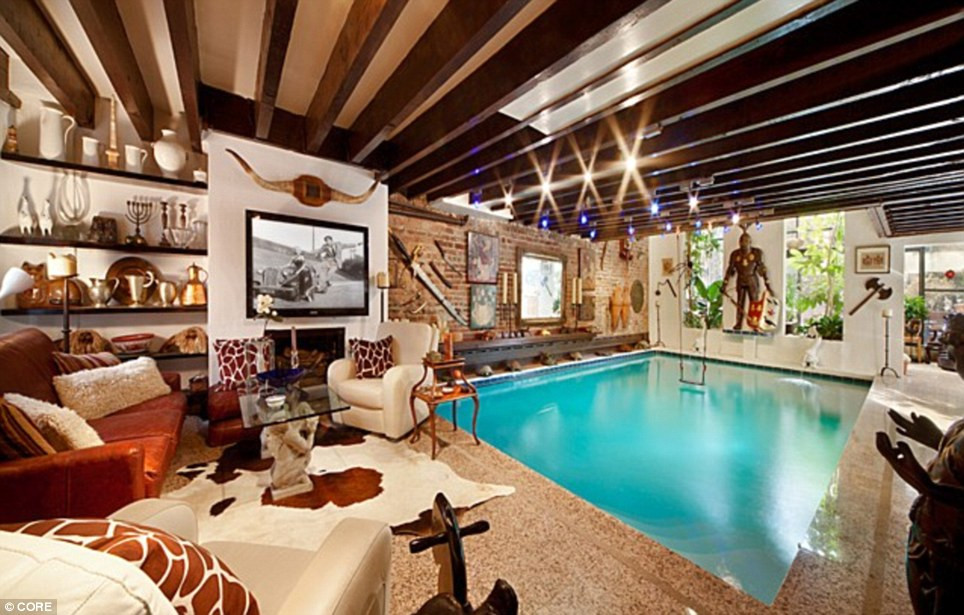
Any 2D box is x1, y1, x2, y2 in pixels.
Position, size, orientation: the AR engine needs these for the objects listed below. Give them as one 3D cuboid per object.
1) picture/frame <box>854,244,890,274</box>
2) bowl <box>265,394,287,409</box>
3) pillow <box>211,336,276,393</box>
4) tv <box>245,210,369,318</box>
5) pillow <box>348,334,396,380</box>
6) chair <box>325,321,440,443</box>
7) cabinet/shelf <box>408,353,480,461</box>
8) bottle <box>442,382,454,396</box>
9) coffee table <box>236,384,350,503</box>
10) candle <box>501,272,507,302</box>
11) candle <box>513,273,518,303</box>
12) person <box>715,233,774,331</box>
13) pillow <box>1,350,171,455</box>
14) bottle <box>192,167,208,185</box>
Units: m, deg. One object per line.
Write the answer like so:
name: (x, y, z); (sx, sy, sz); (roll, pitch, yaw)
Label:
picture/frame: (6.013, -0.730, 8.567); (0.445, 0.477, 0.049); (3, -2, 45)
bowl: (-1.919, 0.880, 5.149); (0.177, 0.090, 0.189); (0, 7, 0)
pillow: (-2.612, 0.629, 6.077); (0.562, 0.558, 0.209); (2, 2, -36)
tv: (-2.122, -0.497, 6.478); (1.307, 1.043, 0.051); (2, -3, -36)
pillow: (-1.268, 0.592, 6.365); (0.472, 0.455, 0.143); (2, -16, -13)
chair: (-1.101, 0.783, 6.361); (1.296, 1.046, 1.181); (-7, 12, -36)
cabinet/shelf: (-0.427, 1.036, 6.028); (0.687, 0.941, 0.613); (-5, 7, -24)
bottle: (-0.372, 0.874, 5.934); (0.134, 0.058, 0.234); (0, 7, -7)
coffee table: (-1.777, 1.363, 5.321); (0.727, 0.711, 0.829); (-4, -17, -16)
candle: (0.362, -0.301, 9.038); (0.065, 0.507, 0.142); (4, 8, 24)
candle: (0.530, -0.307, 9.201); (0.057, 0.516, 0.150); (6, 9, 38)
person: (4.678, -0.431, 9.844); (0.480, 1.800, 0.835); (-7, 10, -43)
pillow: (-3.503, 0.834, 4.967); (0.489, 0.526, 1.430); (-23, 5, 10)
bottle: (-3.107, -1.447, 6.189); (0.185, 0.174, 0.195); (2, -4, -5)
